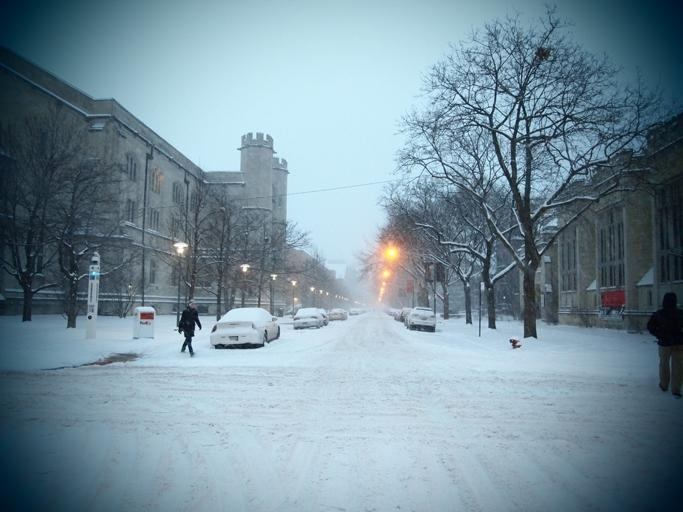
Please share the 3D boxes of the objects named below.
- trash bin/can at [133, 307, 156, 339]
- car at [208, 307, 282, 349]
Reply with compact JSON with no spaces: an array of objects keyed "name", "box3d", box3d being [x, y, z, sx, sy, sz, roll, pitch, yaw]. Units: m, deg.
[{"name":"trash bin/can","box3d":[-8.901,2.947,25.447,0.790,1.721,0.847,1,-4,6]},{"name":"car","box3d":[-3.947,3.005,24.235,1.686,1.734,3.558,0,1,7]}]
